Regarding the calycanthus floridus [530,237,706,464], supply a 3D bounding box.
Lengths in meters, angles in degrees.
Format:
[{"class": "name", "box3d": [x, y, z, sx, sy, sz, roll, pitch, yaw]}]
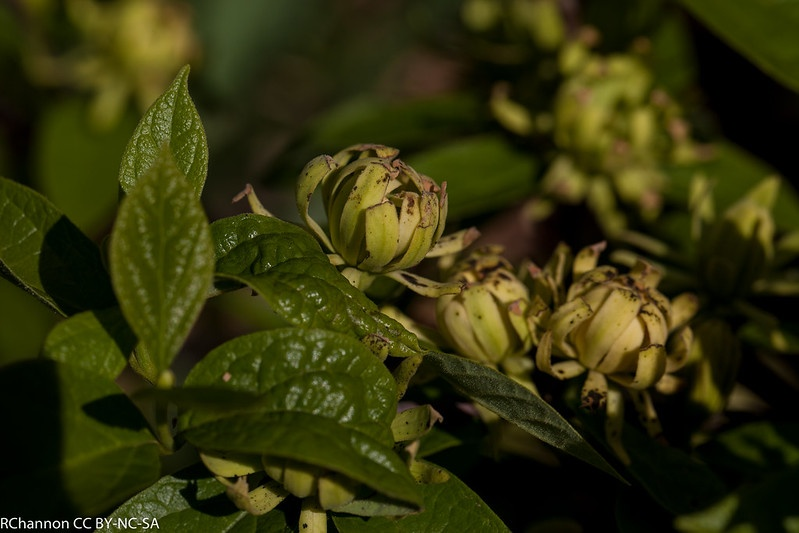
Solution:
[{"class": "calycanthus floridus", "box3d": [0.264, 0.092, 1.226, 0.260, 0.149, 0.296, 10, 9, 5]}]

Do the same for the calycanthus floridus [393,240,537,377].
[{"class": "calycanthus floridus", "box3d": [0.120, 0.063, 1.303, 0.150, 0.153, 0.247, -9, 1, 12]}]

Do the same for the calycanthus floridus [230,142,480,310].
[{"class": "calycanthus floridus", "box3d": [-0.049, -0.055, 1.169, 0.320, 0.198, 0.129, -2, 9, -12]}]
